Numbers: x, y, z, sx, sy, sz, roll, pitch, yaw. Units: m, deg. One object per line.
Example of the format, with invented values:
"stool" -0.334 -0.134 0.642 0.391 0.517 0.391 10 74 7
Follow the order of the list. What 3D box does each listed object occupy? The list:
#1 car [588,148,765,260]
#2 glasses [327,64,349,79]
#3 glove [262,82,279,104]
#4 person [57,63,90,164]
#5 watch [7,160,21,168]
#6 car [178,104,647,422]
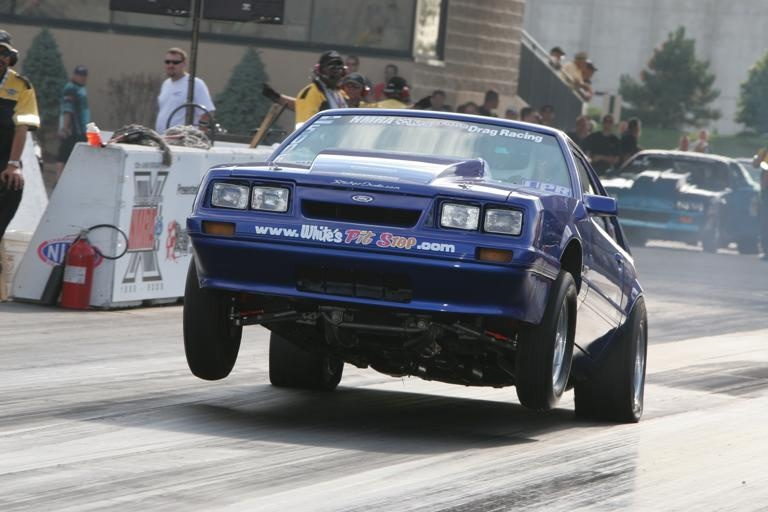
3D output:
"car" 5.220 -0.904 19.576 2.469 1.994 8.131 2 2 -1
"glasses" -0.523 -2.039 12.309 0.167 0.079 0.215 2 -28 -13
"glove" -1.385 -2.034 13.754 0.227 0.234 0.563 4 6 -5
"person" -5.225 -2.232 18.521 0.577 1.916 0.840 7 17 -4
"watch" -3.627 -0.908 10.883 0.115 0.061 0.101 5 -6 -8
"car" 0.459 0.100 8.347 2.618 1.609 3.966 5 -7 22
